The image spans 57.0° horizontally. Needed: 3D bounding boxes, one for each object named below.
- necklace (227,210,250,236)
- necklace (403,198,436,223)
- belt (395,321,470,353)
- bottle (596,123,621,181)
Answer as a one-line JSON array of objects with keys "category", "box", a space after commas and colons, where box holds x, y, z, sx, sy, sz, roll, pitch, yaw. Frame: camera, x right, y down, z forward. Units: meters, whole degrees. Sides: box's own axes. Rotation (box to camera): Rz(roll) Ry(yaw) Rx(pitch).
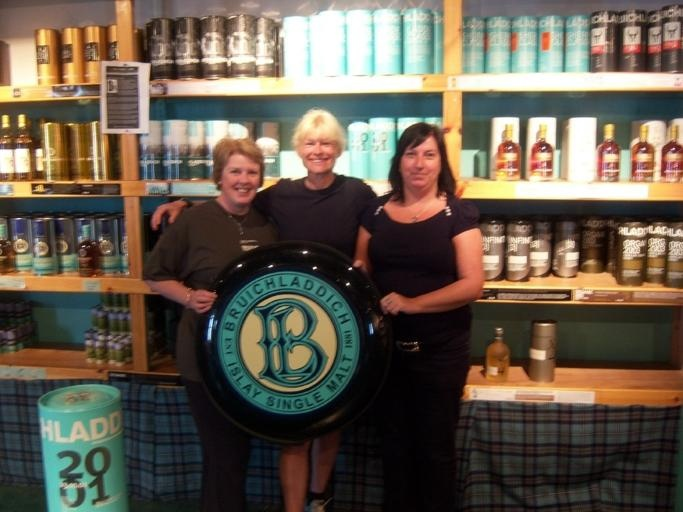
[{"category": "necklace", "box": [-0.458, -0.144, 2.758, 0.090, 0.096, 0.027, -5, -19, -36]}, {"category": "necklace", "box": [0.347, -0.190, 2.771, 0.026, 0.063, 0.126, 3, -10, -37]}, {"category": "belt", "box": [0.399, 0.346, 2.880, 0.304, 0.173, 0.302, 5, -12, -36]}, {"category": "bottle", "box": [1.368, -0.529, 3.207, 0.102, 0.300, 0.131, 0, 6, 19]}]
